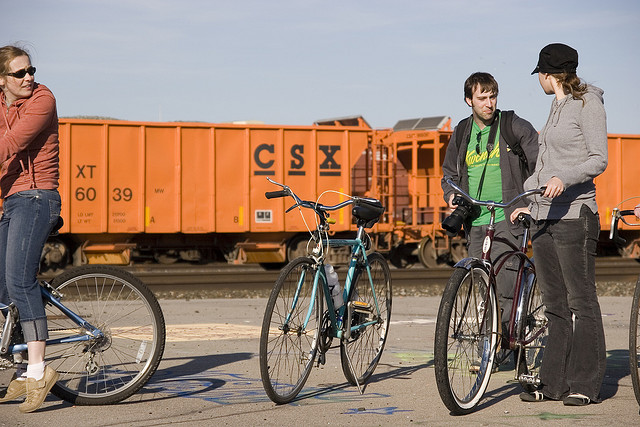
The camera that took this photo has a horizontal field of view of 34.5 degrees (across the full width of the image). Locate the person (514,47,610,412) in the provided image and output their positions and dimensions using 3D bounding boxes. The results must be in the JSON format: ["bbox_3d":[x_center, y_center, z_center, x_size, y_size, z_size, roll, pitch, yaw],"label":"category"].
[{"bbox_3d":[2.434,0.138,10.062,0.836,3.476,0.683,2,7,11],"label":"person"}]

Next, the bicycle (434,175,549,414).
[{"bbox_3d":[1.696,0.856,10.055,0.539,2.079,1.549,6,9,41],"label":"bicycle"}]

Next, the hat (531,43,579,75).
[{"bbox_3d":[2.348,-1.522,10.269,0.406,0.307,0.558,-13,13,-32],"label":"hat"}]

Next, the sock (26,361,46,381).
[{"bbox_3d":[-2.684,1.496,9.754,0.129,0.158,0.159,1,6,-9],"label":"sock"}]

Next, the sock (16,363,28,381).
[{"bbox_3d":[-2.876,1.504,9.946,0.107,0.172,0.425,-1,7,-16],"label":"sock"}]
